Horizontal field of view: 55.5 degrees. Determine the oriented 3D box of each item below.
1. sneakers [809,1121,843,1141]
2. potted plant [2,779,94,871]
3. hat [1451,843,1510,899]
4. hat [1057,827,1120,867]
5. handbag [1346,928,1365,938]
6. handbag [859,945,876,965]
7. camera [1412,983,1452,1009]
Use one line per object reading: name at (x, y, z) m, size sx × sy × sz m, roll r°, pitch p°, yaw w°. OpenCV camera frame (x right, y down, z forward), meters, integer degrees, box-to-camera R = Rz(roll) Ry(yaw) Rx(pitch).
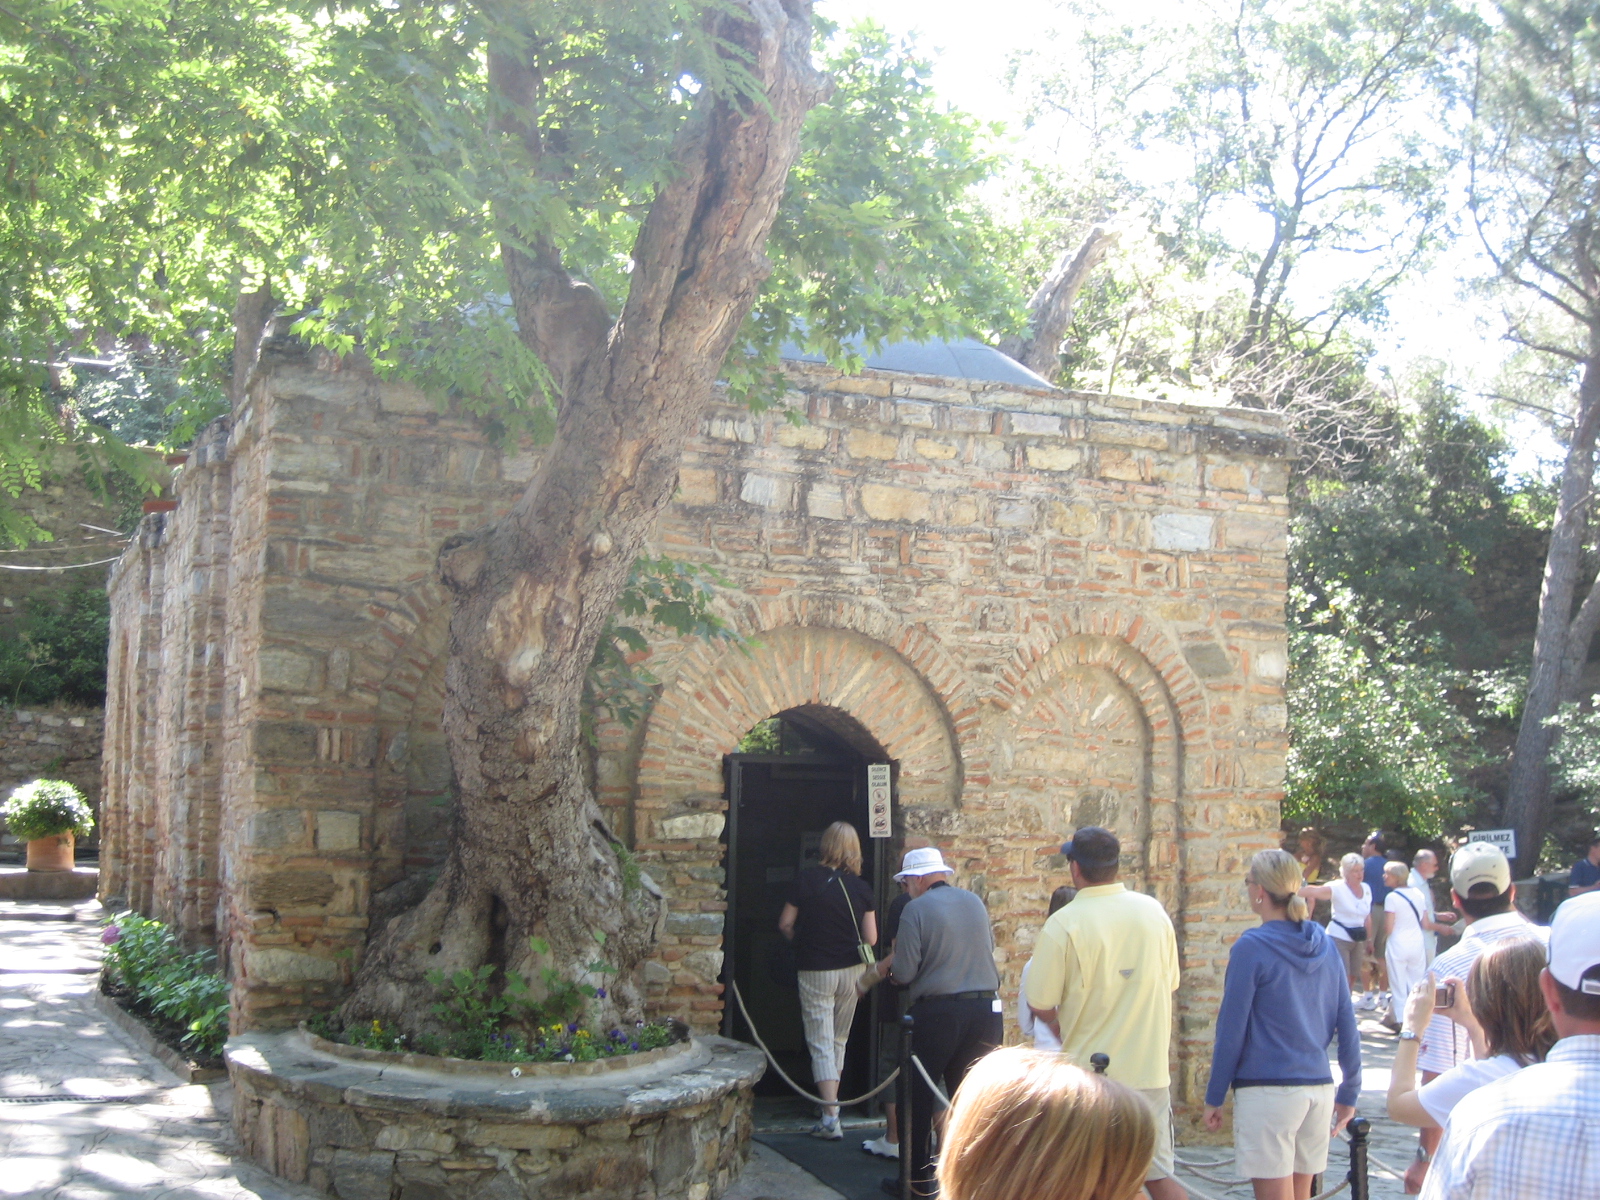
sneakers at (0.192, 3.604, 10.376) m, size 0.098 × 0.106 × 0.245 m, roll 4°, pitch -5°, yaw -24°
potted plant at (-10.679, 3.230, 21.660) m, size 1.029 × 1.286 × 2.167 m, roll 9°, pitch -13°, yaw -23°
hat at (3.079, 1.210, 6.878) m, size 0.240 × 0.261 × 0.271 m, roll -1°, pitch -13°, yaw 22°
hat at (1.482, 1.244, 7.831) m, size 0.202 × 0.151 × 0.271 m, roll 5°, pitch 0°, yaw -13°
handbag at (5.530, 3.309, 15.169) m, size 0.114 × 0.035 × 0.149 m, roll 0°, pitch 0°, yaw 3°
handbag at (0.472, 2.441, 10.510) m, size 0.040 × 0.133 × 0.085 m, roll -14°, pitch -1°, yaw 15°
camera at (2.572, 1.606, 6.183) m, size 0.077 × 0.078 × 0.152 m, roll -5°, pitch -50°, yaw 4°
